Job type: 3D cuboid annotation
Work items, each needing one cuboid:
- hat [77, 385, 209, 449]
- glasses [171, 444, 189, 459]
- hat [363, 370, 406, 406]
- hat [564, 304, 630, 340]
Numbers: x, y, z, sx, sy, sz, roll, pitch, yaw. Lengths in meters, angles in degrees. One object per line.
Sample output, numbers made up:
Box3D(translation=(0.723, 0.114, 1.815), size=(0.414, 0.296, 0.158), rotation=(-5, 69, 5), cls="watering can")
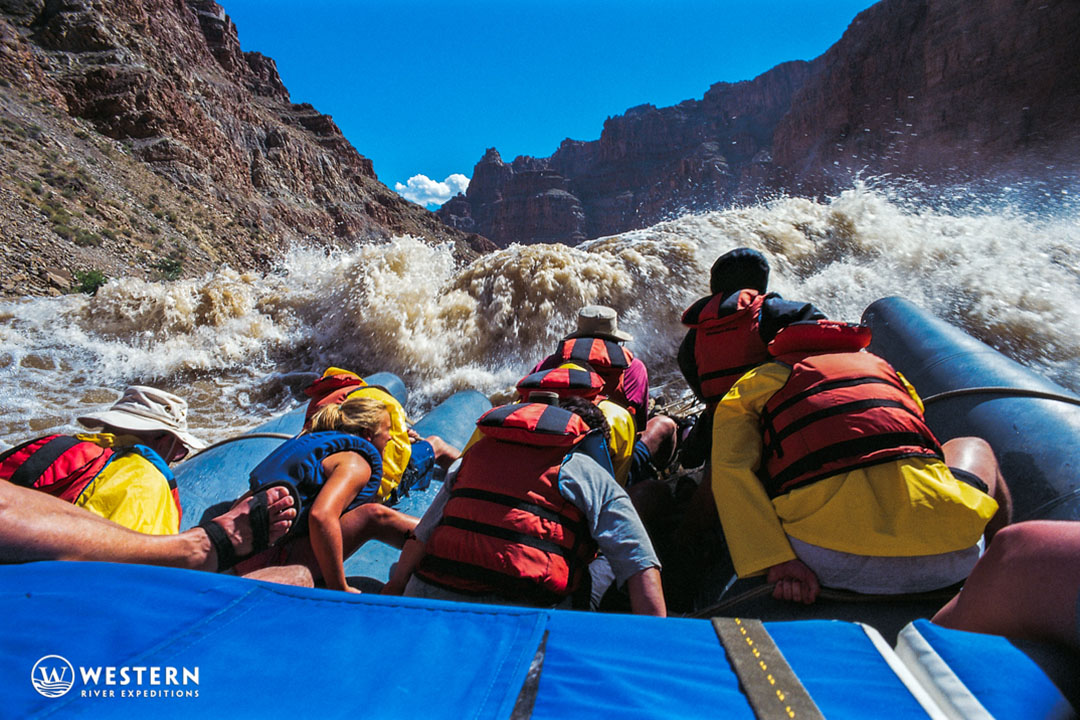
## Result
Box3D(translation=(-2.516, 0.356, 3.973), size=(0.496, 0.199, 0.549), rotation=(16, -19, 9), cls="hat")
Box3D(translation=(-2.438, 0.617, 4.141), size=(0.094, 0.052, 0.129), rotation=(14, -32, 7), cls="glasses")
Box3D(translation=(-1.246, 0.221, 4.912), size=(0.323, 0.329, 0.325), rotation=(-16, 5, -26), cls="hat")
Box3D(translation=(0.465, -0.336, 4.993), size=(0.317, 0.212, 0.409), rotation=(4, -4, 4), cls="hat")
